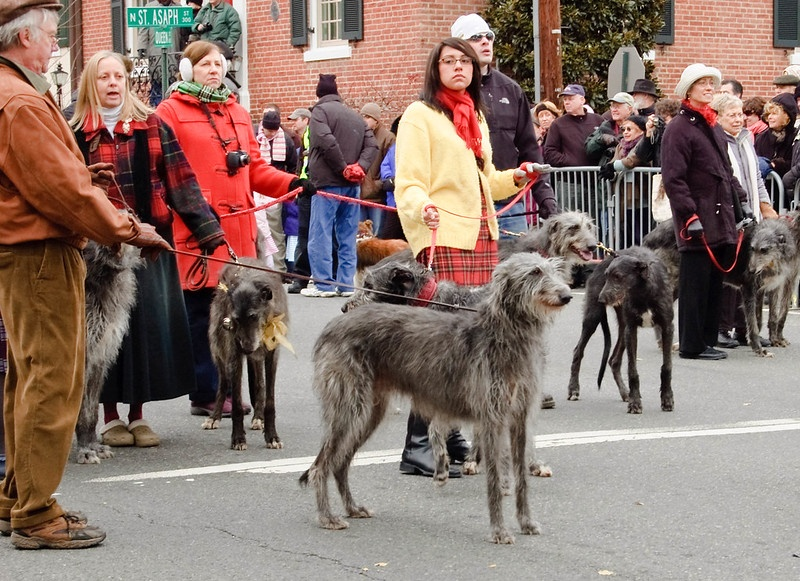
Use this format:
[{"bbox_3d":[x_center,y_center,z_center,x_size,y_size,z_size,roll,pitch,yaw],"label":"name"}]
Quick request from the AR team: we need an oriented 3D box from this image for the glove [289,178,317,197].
[{"bbox_3d":[-0.817,-0.882,8.492,0.156,0.065,0.198,8,4,-37],"label":"glove"}]

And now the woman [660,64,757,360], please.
[{"bbox_3d":[3.391,-0.836,11.083,1.082,3.223,0.554,-6,10,-35],"label":"woman"}]

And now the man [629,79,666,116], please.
[{"bbox_3d":[3.877,-3.012,15.765,0.714,0.650,0.692,2,5,15],"label":"man"}]

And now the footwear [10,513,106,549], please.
[{"bbox_3d":[-1.932,1.382,5.826,0.574,0.261,0.213,-1,1,-12],"label":"footwear"}]

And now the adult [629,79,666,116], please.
[{"bbox_3d":[3.869,-3.018,15.740,0.517,0.639,0.485,0,5,-17],"label":"adult"}]

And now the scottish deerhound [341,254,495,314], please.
[{"bbox_3d":[0.105,-0.046,6.921,1.176,0.465,0.367,0,11,12],"label":"scottish deerhound"}]

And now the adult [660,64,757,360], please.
[{"bbox_3d":[3.389,-0.836,11.084,1.075,3.223,0.564,-6,10,-36],"label":"adult"}]

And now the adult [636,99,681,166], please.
[{"bbox_3d":[3.607,-2.196,14.059,0.408,0.894,0.925,15,18,41],"label":"adult"}]

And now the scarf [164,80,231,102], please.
[{"bbox_3d":[-1.674,-1.674,8.510,0.324,0.132,0.267,5,2,-5],"label":"scarf"}]

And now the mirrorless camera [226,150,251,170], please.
[{"bbox_3d":[-1.356,-1.081,8.557,0.157,0.170,0.217,-2,1,27],"label":"mirrorless camera"}]

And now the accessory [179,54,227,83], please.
[{"bbox_3d":[-1.670,-1.889,8.504,0.275,0.229,0.104,-3,12,-8],"label":"accessory"}]

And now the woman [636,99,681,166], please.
[{"bbox_3d":[3.617,-2.194,14.060,0.408,0.894,0.925,15,18,41],"label":"woman"}]
